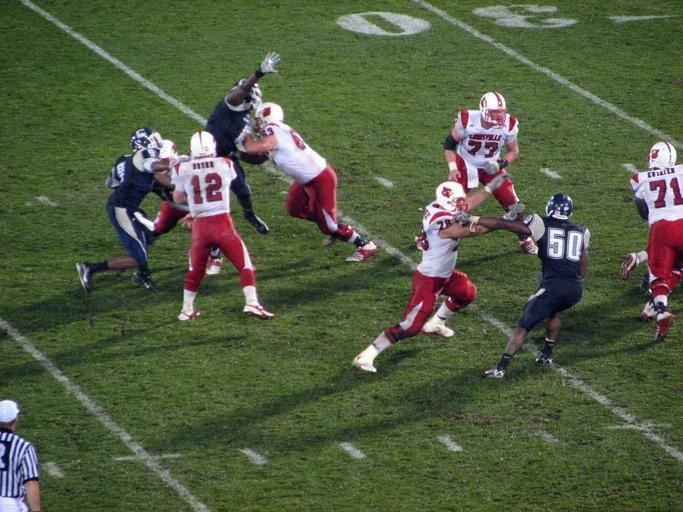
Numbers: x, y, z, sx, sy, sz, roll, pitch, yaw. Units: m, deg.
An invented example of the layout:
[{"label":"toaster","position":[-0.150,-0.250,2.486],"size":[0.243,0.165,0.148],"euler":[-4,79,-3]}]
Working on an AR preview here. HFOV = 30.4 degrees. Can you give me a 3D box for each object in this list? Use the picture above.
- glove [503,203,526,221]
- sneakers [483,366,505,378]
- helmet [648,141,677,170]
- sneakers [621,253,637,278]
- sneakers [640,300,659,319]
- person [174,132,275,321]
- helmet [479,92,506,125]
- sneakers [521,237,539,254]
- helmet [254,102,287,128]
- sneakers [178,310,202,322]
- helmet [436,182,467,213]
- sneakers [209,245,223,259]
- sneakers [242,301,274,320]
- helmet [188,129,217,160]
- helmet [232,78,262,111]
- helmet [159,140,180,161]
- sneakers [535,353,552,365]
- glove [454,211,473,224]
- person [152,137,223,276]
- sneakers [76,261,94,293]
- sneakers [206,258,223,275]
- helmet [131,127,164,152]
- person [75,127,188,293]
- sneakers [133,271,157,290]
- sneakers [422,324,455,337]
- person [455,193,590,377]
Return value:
[{"label":"glove","position":[1.713,-0.443,12.309],"size":[0.292,0.137,0.164],"euler":[-8,54,-52]},{"label":"sneakers","position":[1.508,1.139,12.344],"size":[0.211,0.106,0.094],"euler":[-1,21,4]},{"label":"helmet","position":[3.404,-1.061,13.219],"size":[0.321,0.275,0.334],"euler":[5,11,-21]},{"label":"sneakers","position":[3.057,0.095,13.399],"size":[0.171,0.268,0.111],"euler":[1,30,-23]},{"label":"sneakers","position":[3.171,0.558,12.909],"size":[0.103,0.210,0.121],"euler":[17,1,35]},{"label":"person","position":[-1.360,-0.273,12.753],"size":[0.807,1.911,0.932],"euler":[-8,23,-6]},{"label":"helmet","position":[1.701,-1.649,13.802],"size":[0.341,0.274,0.375],"euler":[-9,30,-15]},{"label":"sneakers","position":[2.117,-0.118,13.960],"size":[0.200,0.133,0.203],"euler":[40,-18,-19]},{"label":"helmet","position":[-0.764,-1.557,13.666],"size":[0.306,0.263,0.260],"euler":[43,26,23]},{"label":"sneakers","position":[-1.565,0.614,12.939],"size":[0.218,0.069,0.090],"euler":[-8,45,-7]},{"label":"helmet","position":[1.070,-0.587,12.337],"size":[0.287,0.263,0.326],"euler":[-1,20,8]},{"label":"sneakers","position":[-1.427,-0.036,13.629],"size":[0.259,0.082,0.201],"euler":[-3,-21,-8]},{"label":"sneakers","position":[-0.849,0.559,12.735],"size":[0.394,0.133,0.123],"euler":[15,-6,-15]},{"label":"helmet","position":[-1.428,-1.161,12.865],"size":[0.298,0.241,0.314],"euler":[-4,20,-3]},{"label":"helmet","position":[-0.984,-1.828,14.068],"size":[0.537,0.347,0.358],"euler":[-1,18,-3]},{"label":"helmet","position":[-1.845,-1.142,13.507],"size":[0.212,0.219,0.102],"euler":[13,-17,-41]},{"label":"sneakers","position":[2.013,1.024,12.466],"size":[0.115,0.070,0.158],"euler":[-15,3,-17]},{"label":"glove","position":[1.170,-0.375,12.116],"size":[0.170,0.131,0.188],"euler":[-2,19,4]},{"label":"person","position":[-1.806,-0.498,13.641],"size":[0.590,1.281,1.086],"euler":[-8,-14,24]},{"label":"sneakers","position":[-2.684,0.220,13.143],"size":[0.208,0.312,0.130],"euler":[-19,3,0]},{"label":"sneakers","position":[-1.385,0.108,13.667],"size":[0.140,0.201,0.071],"euler":[37,13,-12]},{"label":"helmet","position":[-2.096,-1.236,13.337],"size":[0.377,0.198,0.236],"euler":[-9,11,-8]},{"label":"person","position":[-2.272,-0.496,13.350],"size":[1.331,1.639,0.824],"euler":[-10,23,-14]},{"label":"sneakers","position":[-2.106,0.265,13.365],"size":[0.284,0.074,0.117],"euler":[25,-32,-17]},{"label":"sneakers","position":[1.000,0.762,12.839],"size":[0.394,0.123,0.106],"euler":[0,25,4]},{"label":"person","position":[1.923,0.275,12.396],"size":[1.185,1.686,0.535],"euler":[-15,25,-25]}]
